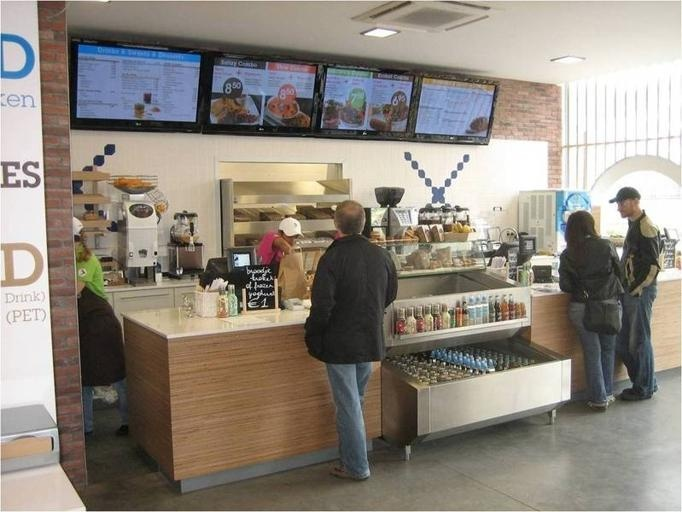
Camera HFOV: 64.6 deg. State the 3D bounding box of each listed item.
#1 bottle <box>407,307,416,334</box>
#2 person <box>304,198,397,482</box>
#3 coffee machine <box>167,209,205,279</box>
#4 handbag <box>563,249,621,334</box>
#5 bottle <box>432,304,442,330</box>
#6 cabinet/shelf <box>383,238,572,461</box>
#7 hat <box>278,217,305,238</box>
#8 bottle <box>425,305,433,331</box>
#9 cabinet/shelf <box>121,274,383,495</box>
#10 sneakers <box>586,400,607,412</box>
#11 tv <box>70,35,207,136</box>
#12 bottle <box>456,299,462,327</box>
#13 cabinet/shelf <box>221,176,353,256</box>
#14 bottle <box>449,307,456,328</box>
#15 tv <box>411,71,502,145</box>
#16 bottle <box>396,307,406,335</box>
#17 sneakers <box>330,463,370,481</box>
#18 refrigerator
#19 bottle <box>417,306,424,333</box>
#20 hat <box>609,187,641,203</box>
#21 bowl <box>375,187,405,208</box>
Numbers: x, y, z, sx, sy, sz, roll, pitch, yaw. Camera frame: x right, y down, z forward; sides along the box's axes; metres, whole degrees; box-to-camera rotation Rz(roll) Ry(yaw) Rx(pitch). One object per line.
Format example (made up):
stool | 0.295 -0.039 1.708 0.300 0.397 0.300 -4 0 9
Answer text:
bottle | 0.594 0.544 4.550 0.077 0.226 0.037 -7 9 -38
person | 0.094 0.638 4.041 0.715 2.083 0.350 -7 9 -38
coffee machine | -1.923 -0.141 6.563 0.359 0.764 0.496 -5 9 -31
handbag | 2.523 0.310 5.420 0.608 0.907 0.404 -9 2 12
bottle | 0.840 0.523 4.689 0.107 0.227 0.037 -6 9 -35
cabinet/shelf | 1.018 0.841 5.101 1.840 1.458 1.395 -3 5 -26
hat | -0.490 -0.274 5.157 0.158 0.127 0.230 -2 10 -30
bottle | 0.756 0.530 4.628 0.091 0.224 0.040 -8 10 -43
cabinet/shelf | -0.742 1.182 4.721 1.944 1.188 1.050 2 -4 -44
sneakers | 2.521 1.467 5.331 0.077 0.082 0.204 -6 9 -34
tv | -2.377 -1.969 6.162 1.578 0.996 0.159 -4 23 -25
bottle | 1.052 0.509 4.786 0.089 0.221 0.044 -7 9 -37
cabinet/shelf | -0.755 -0.540 7.325 1.697 1.061 0.549 -4 20 -16
bottle | 0.983 0.540 4.766 0.074 0.165 0.038 -6 9 -36
tv | 1.778 -2.288 8.390 1.467 0.956 0.116 20 23 40
bottle | 0.499 0.541 4.501 0.094 0.228 0.034 -3 8 -18
sneakers | 0.063 1.627 4.138 0.292 0.116 0.113 8 8 30
refrigerator | 3.600 -0.778 9.395 0.766 1.317 0.793 15 44 34
bottle | 0.672 0.540 4.595 0.075 0.218 0.030 -4 8 -20
hat | 2.930 -0.631 5.584 0.248 0.129 0.155 4 9 25
bowl | 0.708 -0.828 7.763 0.485 0.308 0.318 -1 0 -30
